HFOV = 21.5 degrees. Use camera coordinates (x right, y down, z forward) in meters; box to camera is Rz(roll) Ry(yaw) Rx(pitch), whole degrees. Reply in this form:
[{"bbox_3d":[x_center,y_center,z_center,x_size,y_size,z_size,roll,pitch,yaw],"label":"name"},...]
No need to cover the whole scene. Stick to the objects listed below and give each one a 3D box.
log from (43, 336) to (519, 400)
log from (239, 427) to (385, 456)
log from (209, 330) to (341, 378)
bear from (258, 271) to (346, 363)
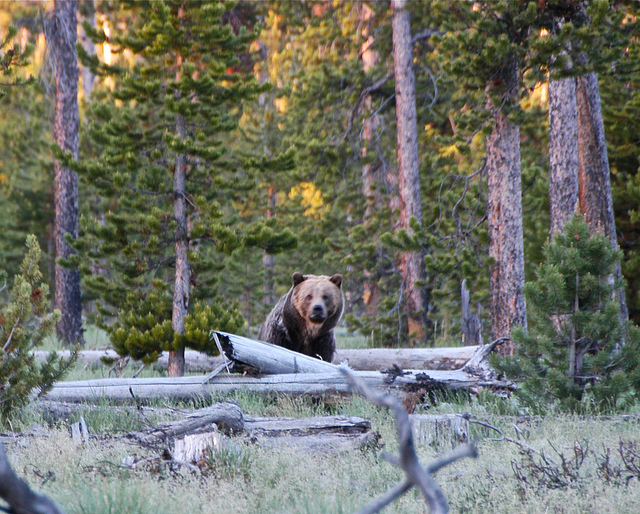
[{"bbox_3d":[-0.908,2.584,35.194,10.834,2.317,2.109,-2,0,15],"label":"log"},{"bbox_3d":[-0.110,3.631,33.135,2.664,0.493,0.926,-1,-6,14],"label":"log"},{"bbox_3d":[-1.155,2.183,35.469,1.937,1.147,1.648,-4,3,-24],"label":"log"},{"bbox_3d":[-0.327,1.296,36.602,1.609,1.914,0.785,0,-4,0],"label":"bear"}]
